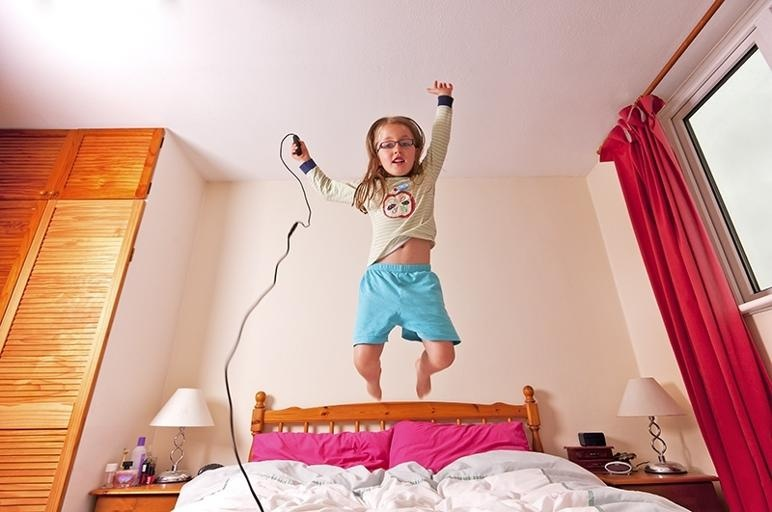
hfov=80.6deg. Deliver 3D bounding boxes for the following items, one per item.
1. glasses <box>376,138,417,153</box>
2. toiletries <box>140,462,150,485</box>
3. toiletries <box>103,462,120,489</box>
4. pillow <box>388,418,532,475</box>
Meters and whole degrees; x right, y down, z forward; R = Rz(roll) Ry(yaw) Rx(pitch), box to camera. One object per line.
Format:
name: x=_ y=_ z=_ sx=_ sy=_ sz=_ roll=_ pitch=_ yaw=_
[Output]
glasses: x=0.058 y=-0.636 z=2.584 sx=0.193 sy=0.068 sz=0.051 roll=-3 pitch=-18 yaw=1
toiletries: x=-1.692 y=1.535 z=3.196 sx=0.069 sy=0.134 sz=0.029 roll=-5 pitch=-18 yaw=8
toiletries: x=-1.878 y=1.513 z=3.094 sx=0.101 sy=0.152 sz=0.099 roll=-13 pitch=-23 yaw=21
pillow: x=0.499 y=1.263 z=3.085 sx=0.743 sy=0.393 sz=0.211 roll=1 pitch=-32 yaw=-1
